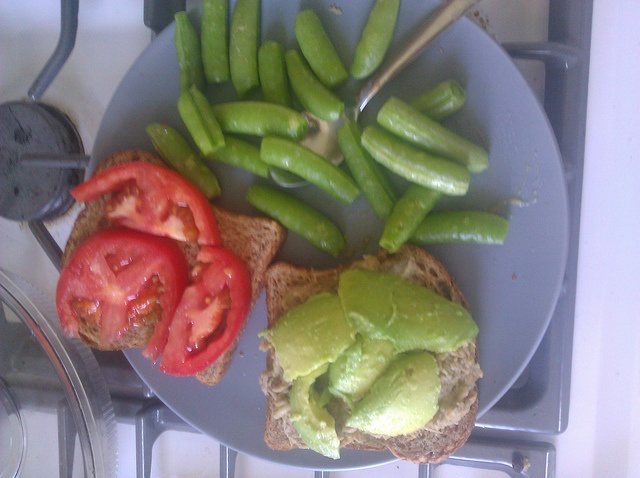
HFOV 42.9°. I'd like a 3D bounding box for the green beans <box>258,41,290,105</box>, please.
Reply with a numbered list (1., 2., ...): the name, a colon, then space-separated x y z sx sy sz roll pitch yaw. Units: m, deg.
1. green beans: -0.274 -0.980 4.739 0.152 0.384 0.111 -8 5 -5
